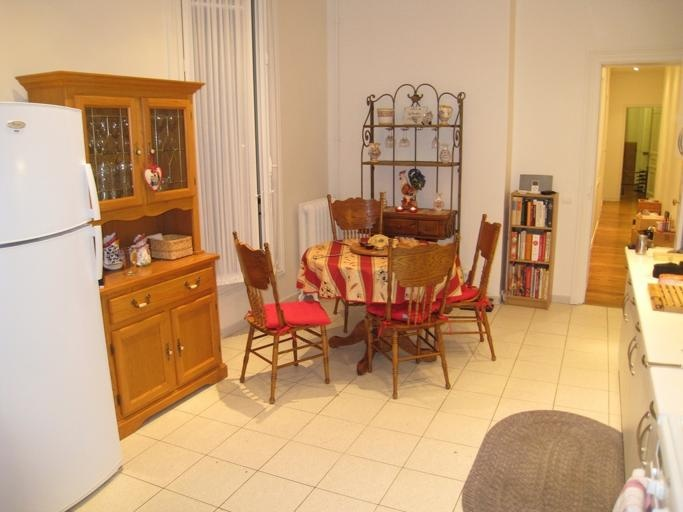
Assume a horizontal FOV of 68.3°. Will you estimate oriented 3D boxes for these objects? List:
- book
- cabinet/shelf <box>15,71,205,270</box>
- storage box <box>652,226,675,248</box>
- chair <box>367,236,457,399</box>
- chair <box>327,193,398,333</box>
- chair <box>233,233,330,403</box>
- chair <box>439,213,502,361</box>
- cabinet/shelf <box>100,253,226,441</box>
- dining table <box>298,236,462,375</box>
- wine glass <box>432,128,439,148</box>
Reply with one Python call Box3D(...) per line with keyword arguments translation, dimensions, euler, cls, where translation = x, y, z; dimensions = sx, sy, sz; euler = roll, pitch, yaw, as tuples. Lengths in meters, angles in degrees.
Box3D(translation=(2.118, -0.073, 5.665), dimensions=(0.492, 1.250, 0.232), euler=(2, 16, 20), cls="book")
Box3D(translation=(-1.494, -0.561, 3.205), dimensions=(0.371, 1.346, 1.214), euler=(6, 15, 24), cls="cabinet/shelf")
Box3D(translation=(3.708, -0.217, 5.805), dimensions=(0.148, 0.202, 0.272), euler=(-5, 6, -37), cls="storage box")
Box3D(translation=(0.561, 0.409, 4.161), dimensions=(0.782, 1.255, 0.845), euler=(-2, 15, 6), cls="chair")
Box3D(translation=(0.216, -0.036, 5.781), dimensions=(0.734, 1.384, 0.864), euler=(1, 8, 22), cls="chair")
Box3D(translation=(-0.434, 0.463, 4.117), dimensions=(0.714, 1.187, 0.754), euler=(9, 13, 41), cls="chair")
Box3D(translation=(1.018, 0.291, 4.636), dimensions=(0.712, 1.218, 0.656), euler=(0, 12, 7), cls="chair")
Box3D(translation=(-1.405, 0.598, 3.797), dimensions=(0.435, 1.074, 1.101), euler=(8, 16, 28), cls="cabinet/shelf")
Box3D(translation=(0.324, 0.446, 4.537), dimensions=(1.097, 0.919, 1.139), euler=(8, 11, 26), cls="dining table")
Box3D(translation=(1.085, -1.376, 5.846), dimensions=(0.083, 0.233, 0.272), euler=(0, 15, 12), cls="wine glass")
